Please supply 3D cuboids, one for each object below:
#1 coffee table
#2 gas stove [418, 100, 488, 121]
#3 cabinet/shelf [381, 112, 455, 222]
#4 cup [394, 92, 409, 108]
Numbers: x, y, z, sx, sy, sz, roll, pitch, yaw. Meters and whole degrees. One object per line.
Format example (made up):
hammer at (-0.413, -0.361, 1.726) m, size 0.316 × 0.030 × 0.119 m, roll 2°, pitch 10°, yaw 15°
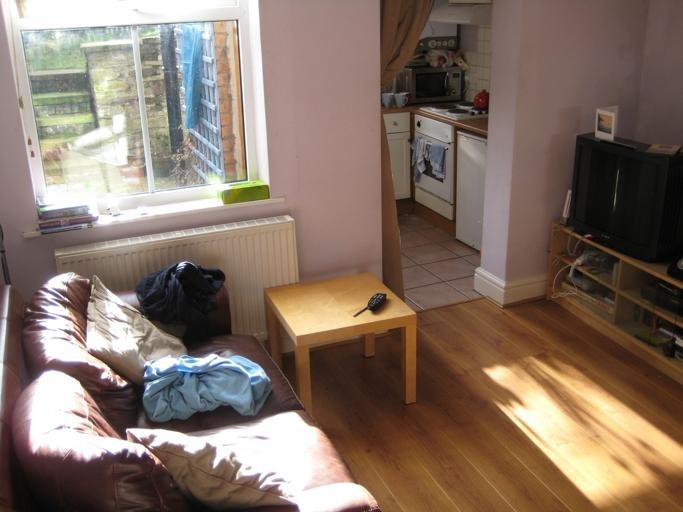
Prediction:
coffee table at (-0.038, 0.305, 3.275) m, size 0.802 × 0.640 × 0.836 m, roll -9°, pitch 32°, yaw -19°
gas stove at (1.120, -1.442, 5.352) m, size 0.464 × 0.059 × 0.791 m, roll -15°, pitch 27°, yaw -21°
cabinet/shelf at (0.761, -0.916, 5.279) m, size 0.433 × 0.817 × 0.843 m, roll -25°, pitch 45°, yaw -25°
cup at (0.660, -1.663, 5.737) m, size 0.174 × 0.131 × 0.134 m, roll -12°, pitch 25°, yaw -14°
